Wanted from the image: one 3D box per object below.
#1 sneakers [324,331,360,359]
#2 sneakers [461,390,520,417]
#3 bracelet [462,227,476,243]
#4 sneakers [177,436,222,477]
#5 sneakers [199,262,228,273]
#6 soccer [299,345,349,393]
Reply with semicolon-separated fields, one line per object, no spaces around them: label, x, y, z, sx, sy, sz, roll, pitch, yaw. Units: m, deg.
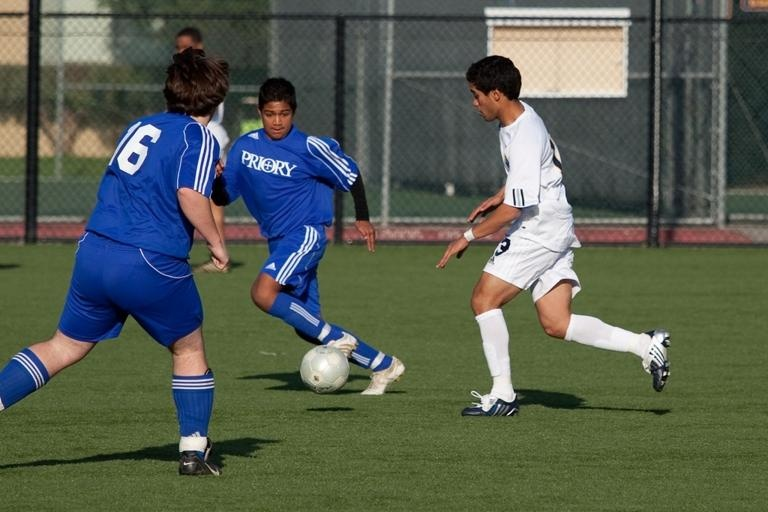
sneakers;-0.349;0.771;12.163;0.214;0.213;0.085;8;25;-2
sneakers;0.926;1.266;11.914;0.581;0.253;0.196;2;-10;0
bracelet;0.726;-0.172;11.784;0.096;0.110;0.086;-3;48;-10
sneakers;-1.407;1.581;10.830;0.176;0.212;0.467;1;0;7
sneakers;-1.425;0.106;11.958;0.274;0.095;0.202;3;-2;-9
soccer;-0.475;1.010;12.137;0.446;0.452;0.431;-3;36;1
